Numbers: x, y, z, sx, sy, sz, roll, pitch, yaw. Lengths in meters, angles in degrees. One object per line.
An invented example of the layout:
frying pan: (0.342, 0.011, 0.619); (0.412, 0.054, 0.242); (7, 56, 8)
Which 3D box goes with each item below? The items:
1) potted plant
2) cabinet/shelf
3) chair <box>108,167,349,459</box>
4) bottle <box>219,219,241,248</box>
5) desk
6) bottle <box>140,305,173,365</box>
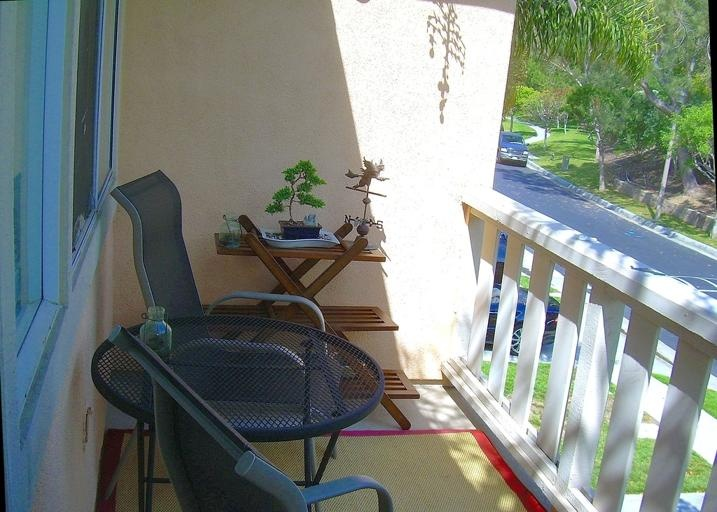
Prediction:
potted plant: (-0.360, -0.314, 2.920); (0.381, 0.480, 0.277); (0, 12, -8)
cabinet/shelf: (-0.285, 0.405, 3.071); (1.109, 1.147, 0.617); (2, 5, -14)
chair: (-0.253, 0.011, 2.744); (1.184, 1.778, 0.944); (2, 19, 10)
bottle: (-0.676, -0.132, 2.789); (0.109, 0.175, 0.096); (1, -1, -7)
desk: (-0.369, 0.387, 1.735); (0.784, 0.549, 0.815); (4, 24, -18)
bottle: (-0.663, 0.247, 1.714); (0.089, 0.166, 0.092); (7, 14, -2)
